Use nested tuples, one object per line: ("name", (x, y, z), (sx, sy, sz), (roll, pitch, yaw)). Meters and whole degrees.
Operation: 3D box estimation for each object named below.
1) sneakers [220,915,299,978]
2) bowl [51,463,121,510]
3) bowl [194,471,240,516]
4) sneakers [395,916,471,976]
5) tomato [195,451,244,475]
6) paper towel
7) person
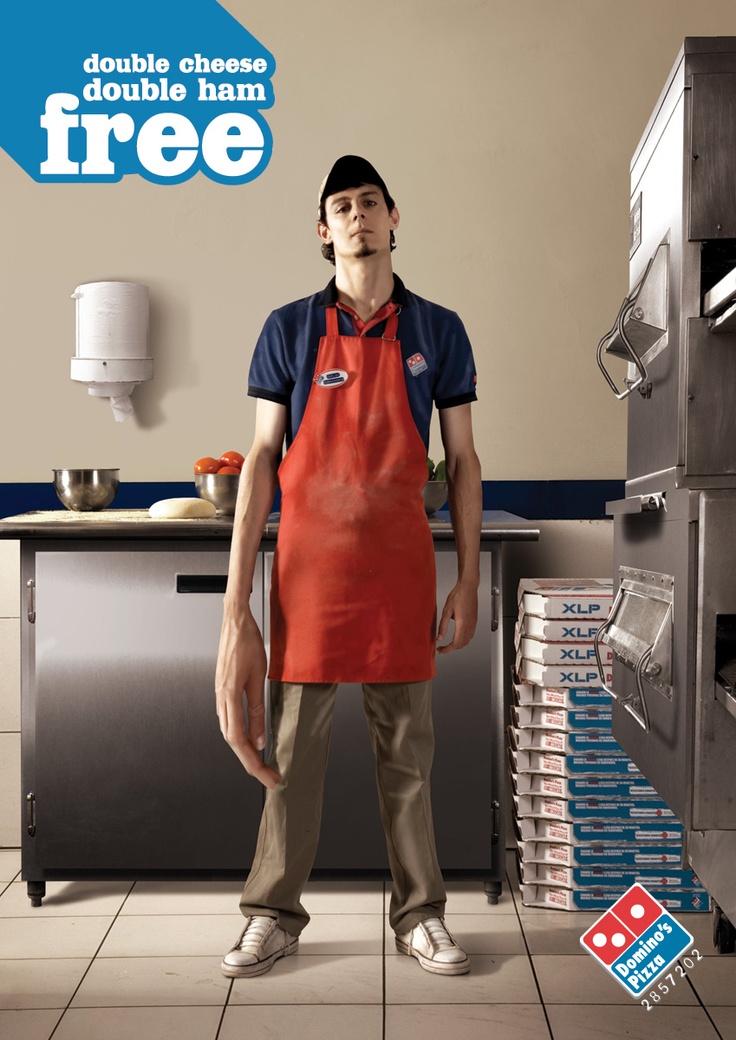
("sneakers", (-0.198, 0.790, 1.797), (0.064, 0.082, 0.192), (0, -9, 17))
("bowl", (-0.699, -0.080, 2.383), (0.116, 0.074, 0.115), (-1, -2, 0))
("bowl", (-0.354, -0.067, 2.265), (0.090, 0.074, 0.100), (0, 3, -5))
("sneakers", (0.121, 0.781, 1.756), (0.055, 0.059, 0.149), (2, -11, -18))
("tomato", (-0.364, -0.136, 2.334), (0.104, 0.048, 0.063), (-1, -2, -7))
("paper towel", (-0.702, -0.452, 2.587), (0.219, 0.359, 0.158), (-1, -1, -8))
("person", (-0.026, 0.092, 1.751), (0.498, 1.471, 0.195), (-1, -1, -6))
